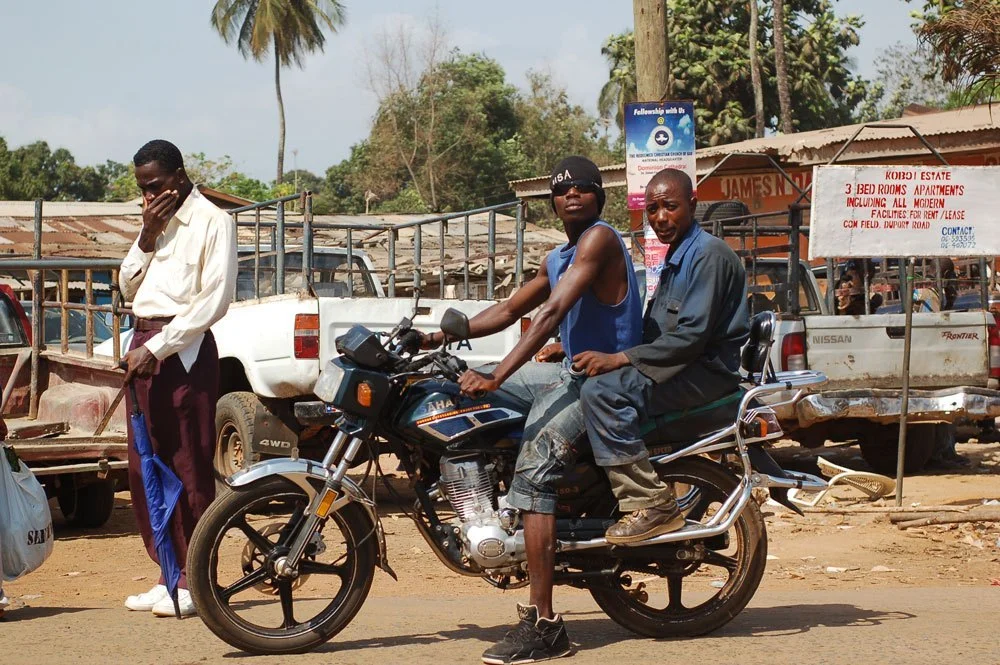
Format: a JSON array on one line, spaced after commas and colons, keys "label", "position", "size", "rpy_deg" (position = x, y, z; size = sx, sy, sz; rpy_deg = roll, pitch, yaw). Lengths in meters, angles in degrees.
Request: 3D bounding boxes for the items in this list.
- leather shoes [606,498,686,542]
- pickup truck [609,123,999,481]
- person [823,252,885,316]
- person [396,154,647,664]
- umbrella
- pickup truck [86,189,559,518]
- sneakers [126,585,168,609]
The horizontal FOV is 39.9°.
[{"label": "leather shoes", "position": [0.934, 1.222, 8.990], "size": [0.634, 0.261, 0.214], "rpy_deg": [-11, 4, -6]}, {"label": "pickup truck", "position": [3.500, -0.525, 15.916], "size": [3.574, 3.515, 5.881], "rpy_deg": [-3, 4, -20]}, {"label": "person", "position": [4.012, -0.520, 16.061], "size": [0.369, 0.858, 0.885], "rpy_deg": [13, -7, -25]}, {"label": "person", "position": [0.329, 0.465, 9.013], "size": [1.231, 3.198, 0.666], "rpy_deg": [-1, 0, 3]}, {"label": "umbrella", "position": [-2.354, 1.117, 9.385], "size": [0.577, 1.508, 0.290], "rpy_deg": [-1, 0, 33]}, {"label": "pickup truck", "position": [-1.773, -0.281, 14.193], "size": [2.646, 2.357, 4.375], "rpy_deg": [-3, 4, -26]}, {"label": "sneakers", "position": [-2.448, 1.846, 9.592], "size": [0.368, 0.144, 0.138], "rpy_deg": [-4, 8, -5]}]
